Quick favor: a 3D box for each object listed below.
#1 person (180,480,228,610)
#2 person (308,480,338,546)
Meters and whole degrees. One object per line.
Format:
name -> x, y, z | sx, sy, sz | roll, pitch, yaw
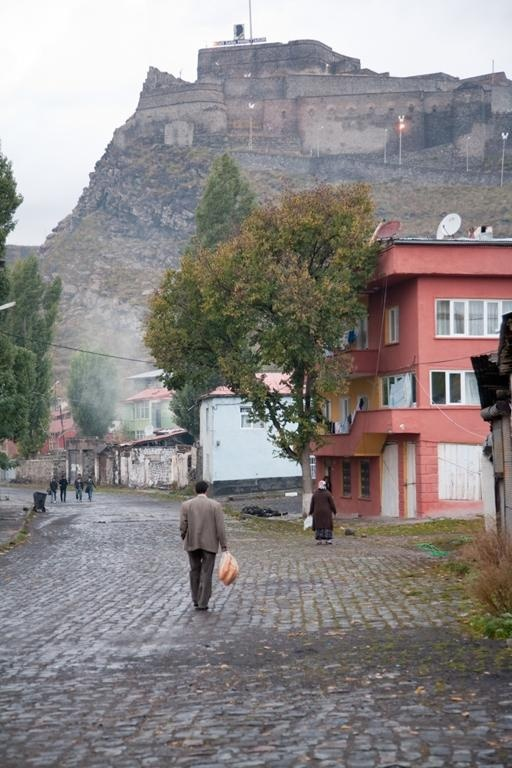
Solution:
person -> -0.614, 1.831, 12.756 | 0.526, 1.409, 1.163 | 0, -4, -4
person -> 1.280, 2.514, 21.601 | 0.450, 1.236, 1.518 | 0, -4, 4
